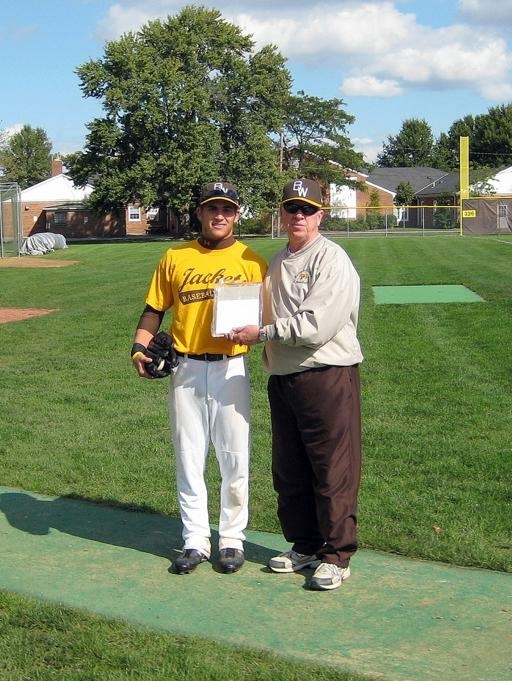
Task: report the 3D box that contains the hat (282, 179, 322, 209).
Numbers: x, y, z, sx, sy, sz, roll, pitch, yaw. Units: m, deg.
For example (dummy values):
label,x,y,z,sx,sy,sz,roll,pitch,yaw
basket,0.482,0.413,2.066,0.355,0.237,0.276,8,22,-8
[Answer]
label,x,y,z,sx,sy,sz,roll,pitch,yaw
hat,0.215,-0.692,3.127,0.144,0.098,0.186,9,1,10

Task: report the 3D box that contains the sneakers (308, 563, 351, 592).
label,x,y,z,sx,sy,sz,roll,pitch,yaw
sneakers,0.331,1.079,3.019,0.088,0.087,0.216,-8,-13,36

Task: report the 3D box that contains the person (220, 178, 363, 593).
label,x,y,z,sx,sy,sz,roll,pitch,yaw
person,0.212,0.182,3.140,0.507,1.913,0.530,1,4,25

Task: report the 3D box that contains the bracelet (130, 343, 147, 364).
label,x,y,z,sx,sy,sz,roll,pitch,yaw
bracelet,-0.588,0.056,3.331,0.077,0.058,0.087,2,-16,-18

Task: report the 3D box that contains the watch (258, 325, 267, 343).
label,x,y,z,sx,sy,sz,roll,pitch,yaw
watch,0.034,-0.024,2.966,0.043,0.059,0.062,3,12,6

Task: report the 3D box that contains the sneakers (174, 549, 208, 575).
label,x,y,z,sx,sy,sz,roll,pitch,yaw
sneakers,-0.333,1.081,3.257,0.078,0.066,0.171,-3,-8,13

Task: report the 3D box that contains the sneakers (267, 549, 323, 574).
label,x,y,z,sx,sy,sz,roll,pitch,yaw
sneakers,0.173,1.078,3.261,0.272,0.103,0.096,3,-2,-18
